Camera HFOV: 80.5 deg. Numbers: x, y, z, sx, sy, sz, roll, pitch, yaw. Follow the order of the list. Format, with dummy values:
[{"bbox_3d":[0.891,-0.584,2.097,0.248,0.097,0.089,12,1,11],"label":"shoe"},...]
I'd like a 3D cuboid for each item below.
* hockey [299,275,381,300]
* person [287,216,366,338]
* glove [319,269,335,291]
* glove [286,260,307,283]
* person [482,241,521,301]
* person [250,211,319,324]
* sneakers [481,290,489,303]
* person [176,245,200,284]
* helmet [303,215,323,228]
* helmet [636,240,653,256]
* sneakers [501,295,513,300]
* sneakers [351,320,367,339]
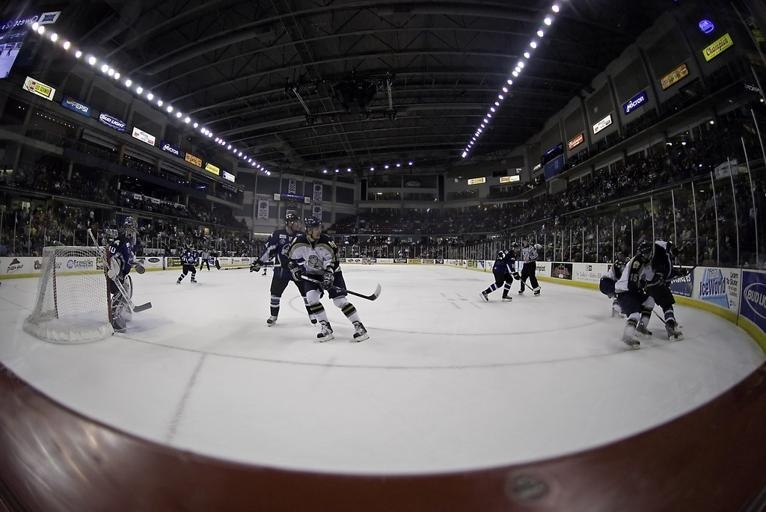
[{"bbox_3d":[-0.795,0.644,8.810,1.585,0.416,0.185,19,-18,-22],"label":"hockey"},{"bbox_3d":[-0.887,0.312,6.819,1.282,1.766,0.838,2,7,13],"label":"person"},{"bbox_3d":[-0.807,0.374,6.693,0.168,0.327,0.290,0,7,-8],"label":"glove"},{"bbox_3d":[-1.332,0.250,7.014,0.251,0.171,0.360,7,-32,-9],"label":"glove"},{"bbox_3d":[2.807,0.413,10.634,0.730,1.327,1.407,3,7,18],"label":"person"},{"bbox_3d":[-1.655,0.273,7.824,1.222,2.227,0.811,0,-35,-13],"label":"person"},{"bbox_3d":[2.371,0.937,10.384,0.362,0.152,0.122,41,9,-43],"label":"sneakers"},{"bbox_3d":[-5.726,0.279,13.376,0.549,1.116,0.477,-1,16,-43],"label":"person"},{"bbox_3d":[-1.057,-0.511,6.815,0.184,0.196,0.157,1,7,-3],"label":"helmet"},{"bbox_3d":[3.925,-0.093,6.761,0.195,0.213,0.192,6,8,37],"label":"helmet"},{"bbox_3d":[2.858,0.979,10.412,0.104,0.103,0.223,5,-12,-36],"label":"sneakers"},{"bbox_3d":[-0.346,1.084,6.566,0.234,0.262,0.214,7,9,44],"label":"sneakers"}]
